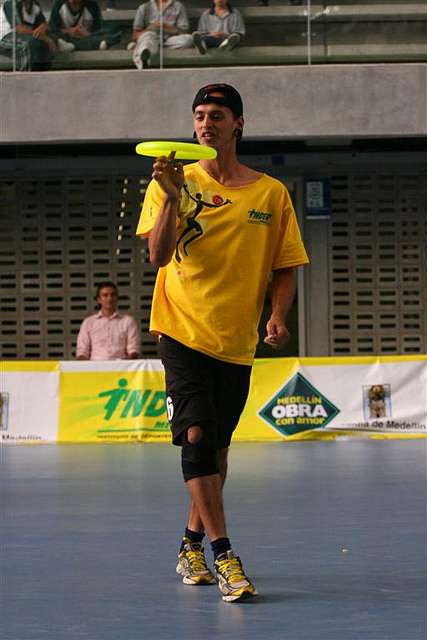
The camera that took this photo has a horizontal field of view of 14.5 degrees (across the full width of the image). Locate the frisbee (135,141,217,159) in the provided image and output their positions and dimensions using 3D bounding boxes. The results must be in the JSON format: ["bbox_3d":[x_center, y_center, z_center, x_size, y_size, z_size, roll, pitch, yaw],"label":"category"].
[{"bbox_3d":[-0.190,-0.951,9.361,0.461,0.105,0.303,-1,8,-4],"label":"frisbee"}]

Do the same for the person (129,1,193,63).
[{"bbox_3d":[-0.497,-2.879,16.456,0.416,0.375,0.710,19,29,9],"label":"person"}]

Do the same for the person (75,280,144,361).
[{"bbox_3d":[-0.996,0.073,16.020,0.617,0.945,0.532,-1,-15,-4],"label":"person"}]

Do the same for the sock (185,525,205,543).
[{"bbox_3d":[-0.099,1.236,9.619,0.109,0.076,0.106,-1,8,-2],"label":"sock"}]

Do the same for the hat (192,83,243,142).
[{"bbox_3d":[0.055,-1.252,9.685,0.184,0.207,0.259,7,2,10],"label":"hat"}]

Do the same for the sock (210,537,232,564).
[{"bbox_3d":[0.054,1.285,9.327,0.109,0.150,0.083,-1,7,-1],"label":"sock"}]
